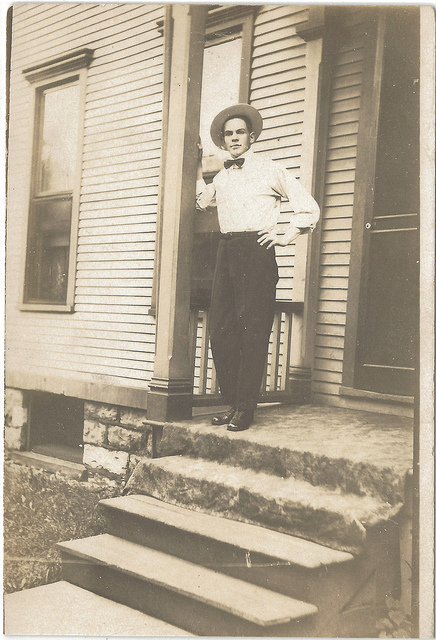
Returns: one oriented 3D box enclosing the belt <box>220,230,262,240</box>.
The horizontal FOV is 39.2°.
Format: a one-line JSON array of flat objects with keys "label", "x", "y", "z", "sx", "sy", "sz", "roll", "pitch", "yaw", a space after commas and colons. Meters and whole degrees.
[{"label": "belt", "x": 0.098, "y": -0.382, "z": 2.763, "sx": 0.197, "sy": 0.041, "sz": 0.020, "roll": 5, "pitch": -2, "yaw": 33}]
